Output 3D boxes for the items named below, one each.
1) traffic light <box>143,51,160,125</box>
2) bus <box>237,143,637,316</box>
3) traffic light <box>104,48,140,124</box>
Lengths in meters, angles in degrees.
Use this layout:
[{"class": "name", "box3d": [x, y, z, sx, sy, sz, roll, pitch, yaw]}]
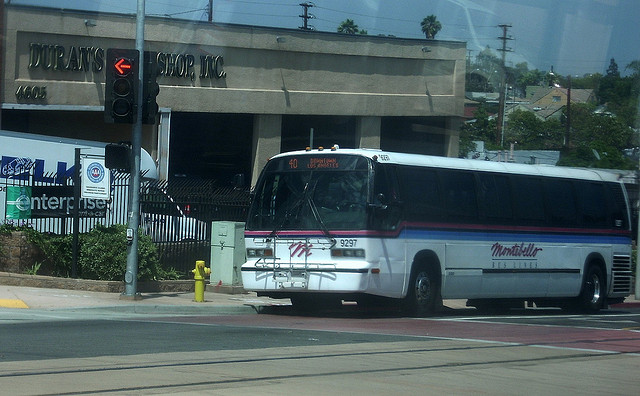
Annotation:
[{"class": "traffic light", "box3d": [-4.843, -3.123, 27.406, 0.440, 2.033, 0.627, 2, 6, -12]}, {"class": "bus", "box3d": [3.772, 1.151, 28.573, 11.889, 5.044, 2.557, 0, 7, -28]}, {"class": "traffic light", "box3d": [-5.561, -3.141, 26.959, 0.906, 2.096, 0.359, 2, 6, -12]}]
